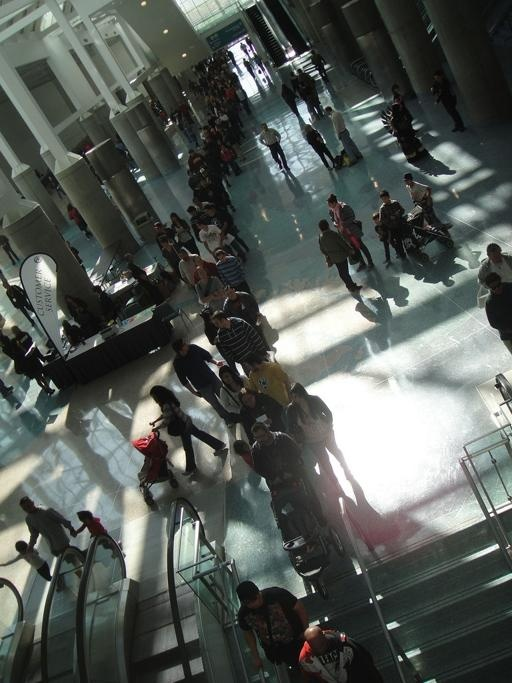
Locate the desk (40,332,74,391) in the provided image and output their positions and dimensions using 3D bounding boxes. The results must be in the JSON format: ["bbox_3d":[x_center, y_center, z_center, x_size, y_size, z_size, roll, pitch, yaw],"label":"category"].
[{"bbox_3d":[-5.113,0.563,12.906,0.627,1.137,1.207,-37,30,-4],"label":"desk"}]

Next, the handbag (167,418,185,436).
[{"bbox_3d":[-1.131,1.193,7.164,0.243,0.177,0.242,-1,27,10],"label":"handbag"}]

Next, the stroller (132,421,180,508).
[{"bbox_3d":[-1.526,1.938,7.664,0.718,1.264,0.655,-17,45,-13],"label":"stroller"}]

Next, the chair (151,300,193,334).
[{"bbox_3d":[-2.125,-0.594,12.621,0.462,0.682,0.524,-44,43,-1],"label":"chair"}]

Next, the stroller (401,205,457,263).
[{"bbox_3d":[3.110,-2.064,8.929,0.735,0.859,0.564,-17,33,20],"label":"stroller"}]

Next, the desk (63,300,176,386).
[{"bbox_3d":[-3.332,0.033,12.700,2.350,0.924,1.735,-29,19,2],"label":"desk"}]

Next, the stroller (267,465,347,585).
[{"bbox_3d":[0.422,1.714,4.398,0.399,0.619,1.075,-25,-7,3],"label":"stroller"}]
